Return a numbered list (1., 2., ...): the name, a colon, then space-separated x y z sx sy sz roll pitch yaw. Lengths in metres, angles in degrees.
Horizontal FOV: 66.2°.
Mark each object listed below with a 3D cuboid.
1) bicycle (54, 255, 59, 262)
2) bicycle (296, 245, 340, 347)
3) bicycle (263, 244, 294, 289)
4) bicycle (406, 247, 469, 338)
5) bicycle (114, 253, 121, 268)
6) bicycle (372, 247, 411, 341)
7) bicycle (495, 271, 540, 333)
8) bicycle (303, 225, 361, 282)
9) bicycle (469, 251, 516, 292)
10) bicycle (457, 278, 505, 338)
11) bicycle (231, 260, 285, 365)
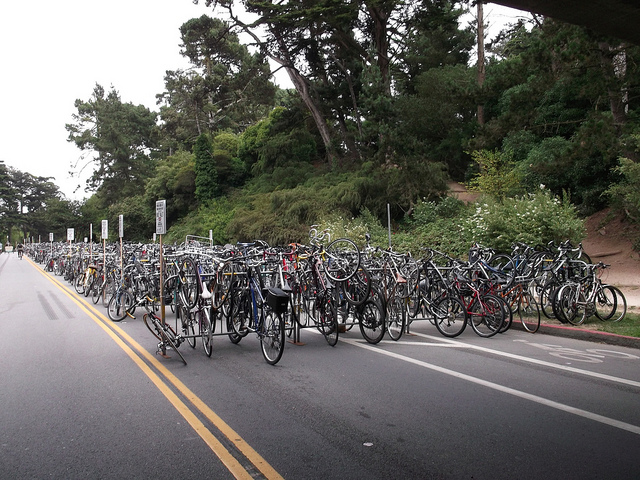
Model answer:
1. bicycle: -16.891 1.168 31.428 0.340 0.462 0.585 -4 2 -37
2. bicycle: 0.115 1.285 9.787 0.684 1.158 1.696 -7 8 -7
3. bicycle: -0.700 0.573 10.496 0.463 0.812 1.274 -8 1 3
4. bicycle: 2.514 1.075 10.968 0.905 1.205 1.896 0 -33 20
5. bicycle: -6.199 0.636 15.042 0.108 0.467 0.468 2 -41 -14
6. bicycle: 1.520 1.169 10.219 0.538 1.711 1.672 0 3 8
7. bicycle: 4.221 1.280 10.995 0.740 1.091 1.727 -18 -22 7
8. bicycle: 0.454 0.393 10.468 0.661 1.056 1.552 -11 1 -30
9. bicycle: 3.836 0.682 10.835 0.733 0.919 1.388 5 -4 -37
10. bicycle: 3.384 1.420 10.097 0.897 1.113 0.987 1 4 42
11. bicycle: -1.068 1.388 8.467 0.764 1.176 1.818 2 6 -23
